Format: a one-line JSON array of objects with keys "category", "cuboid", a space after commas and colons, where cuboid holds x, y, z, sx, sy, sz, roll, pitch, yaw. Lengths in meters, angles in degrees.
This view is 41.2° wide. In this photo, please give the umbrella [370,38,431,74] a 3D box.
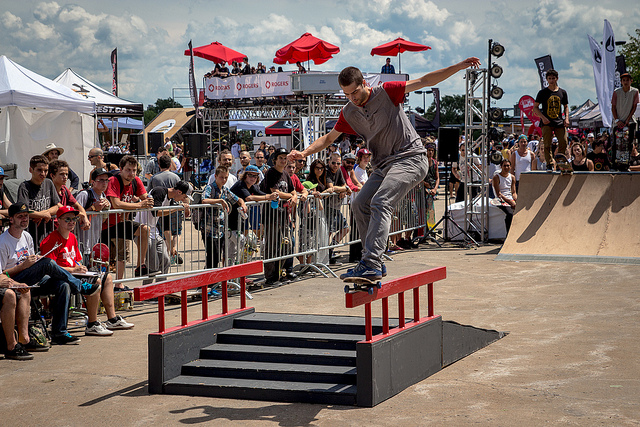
[{"category": "umbrella", "cuboid": [3.193, -6.063, 33.325, 2.354, 1.596, 2.238, -3, -5, 3]}]

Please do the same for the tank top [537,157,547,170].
[{"category": "tank top", "cuboid": [5.233, -1.158, 19.965, 0.110, 0.269, 0.306, -3, 3, -23]}]

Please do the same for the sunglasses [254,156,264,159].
[{"category": "sunglasses", "cuboid": [-1.319, -1.229, 18.843, 0.151, 0.055, 0.114, -2, 3, -13]}]

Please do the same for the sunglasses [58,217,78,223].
[{"category": "sunglasses", "cuboid": [-3.781, 0.103, 12.781, 0.245, 0.076, 0.098, -3, 3, -31]}]

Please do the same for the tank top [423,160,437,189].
[{"category": "tank top", "cuboid": [2.530, -0.875, 19.210, 0.182, 0.646, 0.871, -1, 3, 17]}]

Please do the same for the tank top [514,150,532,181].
[{"category": "tank top", "cuboid": [4.794, -1.129, 19.993, 0.370, 0.705, 0.611, -1, 3, 12]}]

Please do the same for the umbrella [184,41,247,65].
[{"category": "umbrella", "cuboid": [-4.107, -6.625, 35.371, 1.835, 1.020, 2.264, -1, 3, 11]}]

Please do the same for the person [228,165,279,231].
[{"category": "person", "cuboid": [-1.178, -0.303, 15.520, 1.273, 1.146, 0.661, 11, 21, 38]}]

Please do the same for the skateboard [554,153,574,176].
[{"category": "skateboard", "cuboid": [5.014, -1.000, 17.410, 0.193, 0.114, 0.674, 3, -34, 32]}]

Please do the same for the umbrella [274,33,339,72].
[{"category": "umbrella", "cuboid": [-0.584, -6.189, 32.903, 2.354, 1.232, 2.208, -11, -5, 30]}]

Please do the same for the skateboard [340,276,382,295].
[{"category": "skateboard", "cuboid": [0.561, 0.910, 10.840, 0.400, 0.116, 0.252, 5, 9, 14]}]

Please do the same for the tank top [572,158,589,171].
[{"category": "tank top", "cuboid": [5.745, -1.072, 18.701, 0.242, 0.273, 0.313, 1, -1, 16]}]

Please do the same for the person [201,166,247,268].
[{"category": "person", "cuboid": [-1.697, 0.069, 14.956, 0.751, 1.759, 0.637, -2, 3, -7]}]
